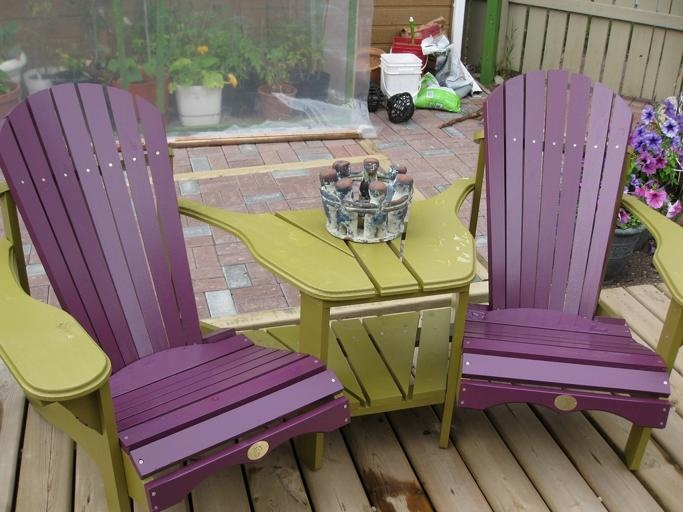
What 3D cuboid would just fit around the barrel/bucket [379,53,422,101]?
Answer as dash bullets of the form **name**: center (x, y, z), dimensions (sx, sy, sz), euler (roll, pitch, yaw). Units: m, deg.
- **barrel/bucket**: center (0.464, -1.624, 4.893), dimensions (0.361, 0.451, 0.420), euler (-4, 21, -7)
